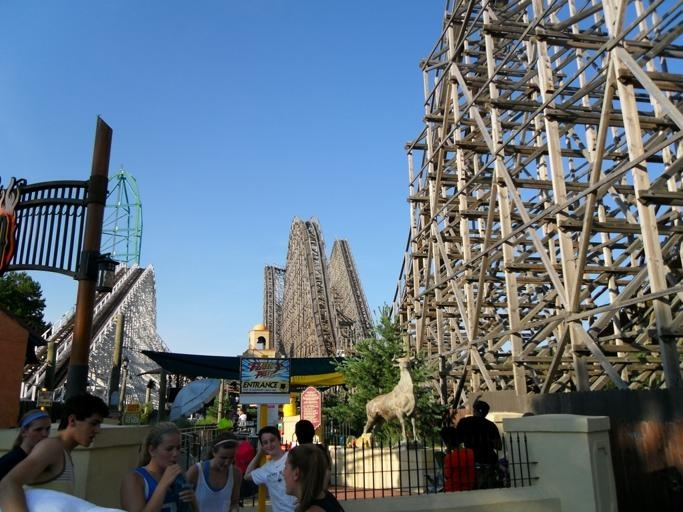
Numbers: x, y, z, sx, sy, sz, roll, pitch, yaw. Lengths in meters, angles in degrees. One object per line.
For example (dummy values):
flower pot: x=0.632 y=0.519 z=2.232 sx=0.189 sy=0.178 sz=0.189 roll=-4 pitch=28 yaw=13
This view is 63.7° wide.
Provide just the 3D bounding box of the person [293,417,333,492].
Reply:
person: x=-0.253 y=1.942 z=5.006 sx=0.403 sy=0.834 sz=0.450 roll=5 pitch=-10 yaw=0

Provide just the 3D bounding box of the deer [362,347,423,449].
deer: x=1.460 y=3.112 z=12.708 sx=1.365 sy=2.263 sz=1.373 roll=7 pitch=-10 yaw=-21
